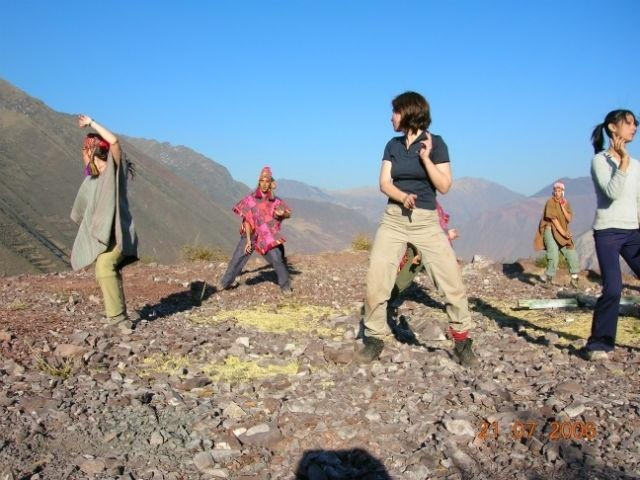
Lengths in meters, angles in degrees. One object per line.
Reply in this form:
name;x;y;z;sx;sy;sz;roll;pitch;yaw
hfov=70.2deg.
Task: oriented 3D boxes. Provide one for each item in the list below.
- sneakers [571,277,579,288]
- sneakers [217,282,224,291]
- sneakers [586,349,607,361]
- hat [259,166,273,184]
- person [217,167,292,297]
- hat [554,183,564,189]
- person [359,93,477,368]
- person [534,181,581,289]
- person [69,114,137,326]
sneakers;5.571;0.926;9.925;0.197;0.266;0.152;-3;-11;11
sneakers;-1.817;0.835;8.419;0.157;0.210;0.075;-4;-2;6
sneakers;3.010;1.245;4.936;0.155;0.059;0.114;3;-12;-6
hat;-0.945;-1.145;8.028;0.228;0.257;0.607;-3;10;-7
person;-1.116;-0.166;8.242;1.135;2.241;0.563;-3;9;-6
hat;5.230;-1.182;9.924;0.153;0.167;0.213;-1;-35;17
person;1.000;-0.079;4.721;1.173;2.866;0.625;0;9;10
person;5.185;-0.119;9.927;0.951;2.262;0.877;-1;9;4
person;-2.702;-0.197;5.743;0.711;2.626;1.057;-11;13;-44
